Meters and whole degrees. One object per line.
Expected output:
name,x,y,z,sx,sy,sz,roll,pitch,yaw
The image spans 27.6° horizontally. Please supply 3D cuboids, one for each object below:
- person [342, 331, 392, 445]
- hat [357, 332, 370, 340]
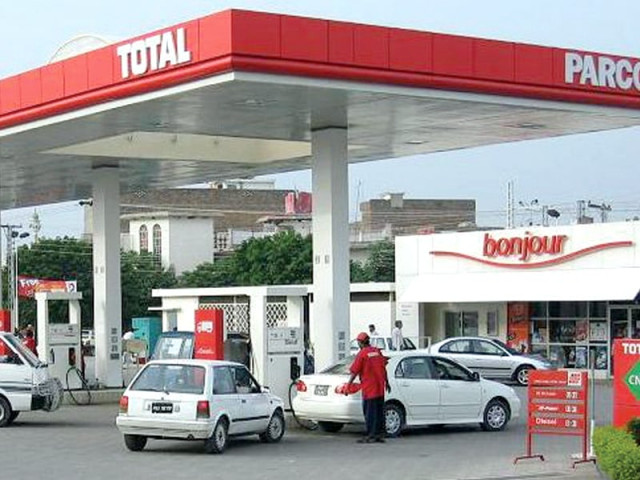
person,1.153,3.373,30.778,0.953,2.512,0.549,-1,-3,2
hat,1.004,2.235,31.048,0.253,0.171,0.196,-8,1,10
